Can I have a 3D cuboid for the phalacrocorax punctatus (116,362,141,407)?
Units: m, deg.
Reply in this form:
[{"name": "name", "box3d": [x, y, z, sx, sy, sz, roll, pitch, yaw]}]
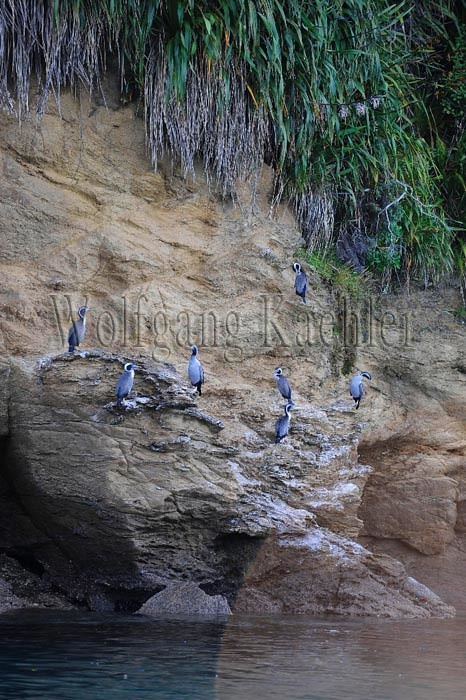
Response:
[{"name": "phalacrocorax punctatus", "box3d": [-0.949, 0.304, 13.700, 0.163, 0.379, 0.338, 1, 7, -4]}]
